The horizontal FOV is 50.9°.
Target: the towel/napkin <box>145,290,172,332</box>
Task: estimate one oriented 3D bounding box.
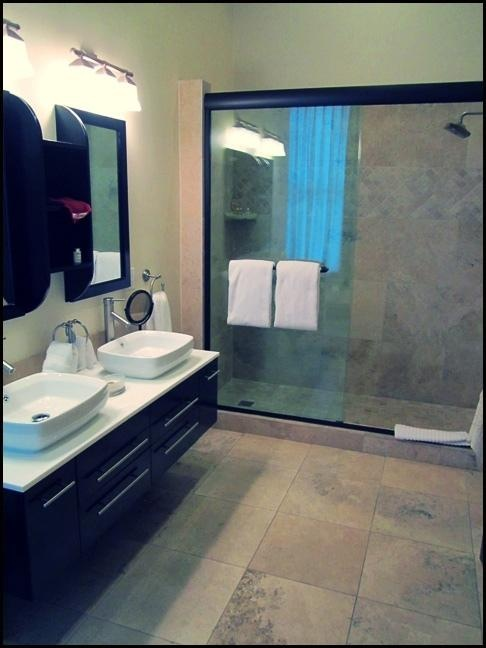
[{"bbox_3d":[-0.474,-0.068,2.814,0.066,0.237,0.194,5,8,23],"label":"towel/napkin"}]

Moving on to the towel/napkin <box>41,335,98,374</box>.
[{"bbox_3d":[-0.713,0.137,2.149,0.090,0.170,0.370,3,12,11],"label":"towel/napkin"}]

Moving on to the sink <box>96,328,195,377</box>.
[{"bbox_3d":[-0.431,0.132,2.345,0.353,0.117,0.490,6,13,19],"label":"sink"}]

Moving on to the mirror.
[{"bbox_3d":[-0.660,-0.534,2.329,0.112,0.804,0.558,3,11,10],"label":"mirror"}]

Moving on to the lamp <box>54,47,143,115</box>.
[{"bbox_3d":[-0.605,-1.028,2.212,0.138,0.222,0.528,5,13,18],"label":"lamp"}]

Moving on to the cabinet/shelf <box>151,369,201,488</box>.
[{"bbox_3d":[-0.313,0.436,2.288,0.348,0.263,0.193,-29,27,-31],"label":"cabinet/shelf"}]
